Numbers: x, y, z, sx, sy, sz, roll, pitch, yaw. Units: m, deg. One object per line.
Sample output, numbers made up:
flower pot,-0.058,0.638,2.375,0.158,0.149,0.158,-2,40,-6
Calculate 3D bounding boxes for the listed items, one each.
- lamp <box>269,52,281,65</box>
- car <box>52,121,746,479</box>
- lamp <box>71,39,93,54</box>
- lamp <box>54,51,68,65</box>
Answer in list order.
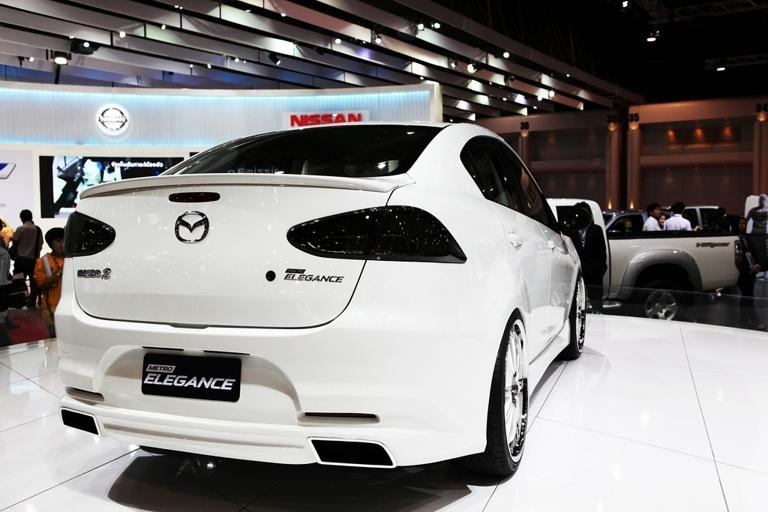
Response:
lamp,-3.089,-5.613,13.717,0.288,0.298,0.503,-3,31,-33
car,0.124,0.198,3.052,1.640,1.231,2.837,0,2,29
lamp,-7.572,-5.217,12.056,0.388,0.174,0.386,-3,-1,-39
lamp,-8.272,-5.066,12.325,0.303,0.322,0.434,-5,8,-30
